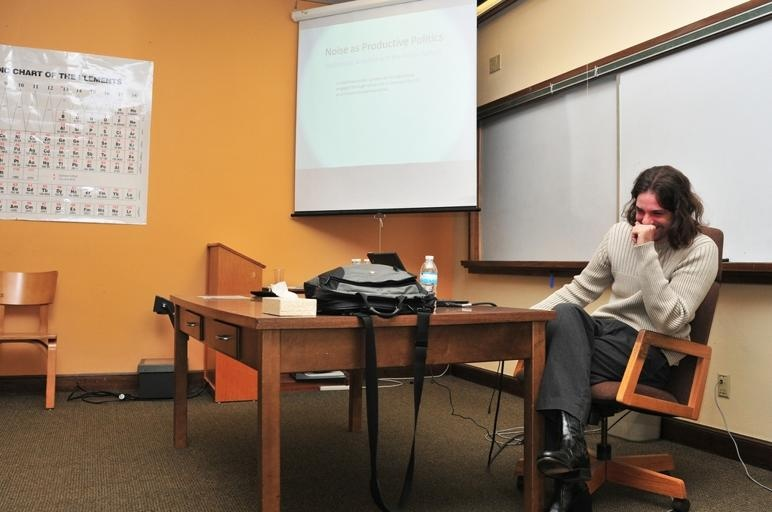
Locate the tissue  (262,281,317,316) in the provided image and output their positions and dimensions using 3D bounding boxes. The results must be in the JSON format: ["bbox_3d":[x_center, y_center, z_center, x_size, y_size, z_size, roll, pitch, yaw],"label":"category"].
[{"bbox_3d":[-0.477,0.218,3.036,0.228,0.135,0.244,2,-3,-25],"label":"tissue "}]

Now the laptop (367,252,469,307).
[{"bbox_3d":[0.117,0.105,3.767,0.394,0.264,0.401,-1,1,-35],"label":"laptop"}]
